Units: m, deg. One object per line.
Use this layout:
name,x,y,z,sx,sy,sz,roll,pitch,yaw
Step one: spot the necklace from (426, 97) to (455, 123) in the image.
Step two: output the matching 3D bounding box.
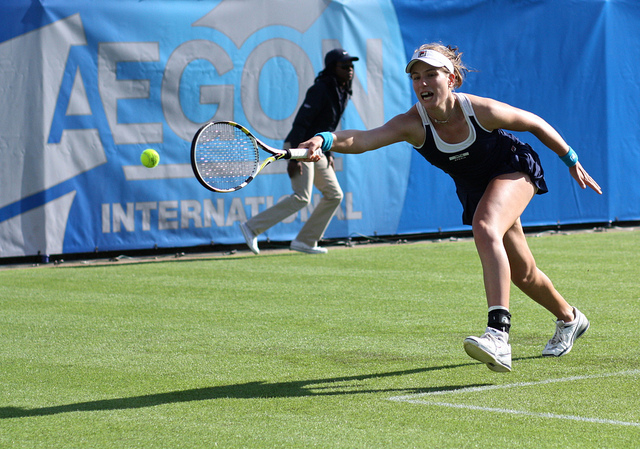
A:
necklace,0.970,-0.904,8.172,0.209,0.181,0.044,1,11,7

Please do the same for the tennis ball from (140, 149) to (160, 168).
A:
tennis ball,-2.120,-0.793,12.608,0.238,0.205,0.207,-4,-10,-2

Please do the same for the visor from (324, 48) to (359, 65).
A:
visor,0.236,-2.002,12.315,0.322,0.175,0.206,-2,14,20
